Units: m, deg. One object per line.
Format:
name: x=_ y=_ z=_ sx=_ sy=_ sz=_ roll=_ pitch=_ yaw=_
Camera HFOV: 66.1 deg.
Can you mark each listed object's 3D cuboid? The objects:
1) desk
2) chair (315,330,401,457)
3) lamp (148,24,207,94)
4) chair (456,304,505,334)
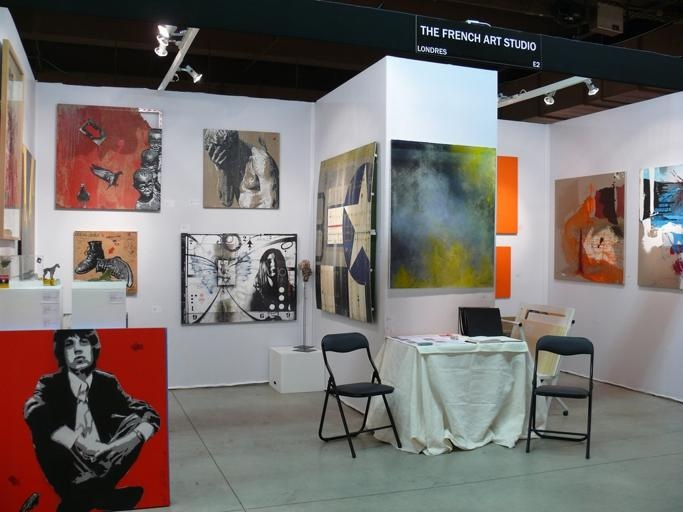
desk: x=1.248 y=1.483 z=5.630 sx=1.405 sy=0.831 sz=1.189 roll=0 pitch=2 yaw=-14
chair: x=0.177 y=1.442 z=5.659 sx=0.713 sy=1.203 sz=0.815 roll=0 pitch=-3 yaw=-21
lamp: x=-2.222 y=-2.473 z=7.001 sx=0.235 sy=0.886 sz=0.666 roll=21 pitch=12 yaw=3
chair: x=1.740 y=0.766 z=6.587 sx=0.359 sy=0.531 sz=0.391 roll=0 pitch=-7 yaw=-7
